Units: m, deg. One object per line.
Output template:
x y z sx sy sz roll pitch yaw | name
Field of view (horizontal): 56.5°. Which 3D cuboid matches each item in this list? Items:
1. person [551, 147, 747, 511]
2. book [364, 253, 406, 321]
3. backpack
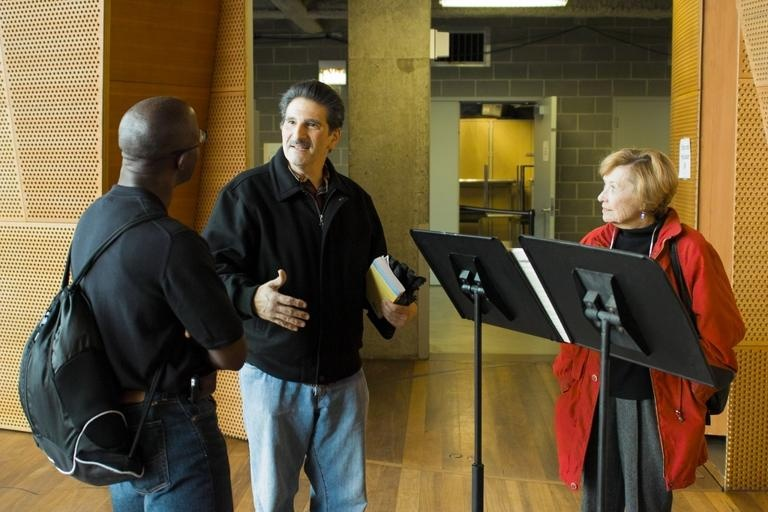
1.155 0.374 3.139 0.782 1.676 0.455 2 8 11 | person
0.010 0.109 3.035 0.046 0.251 0.252 -13 26 -31 | book
-1.050 0.335 2.548 0.482 0.976 0.202 2 8 7 | backpack
